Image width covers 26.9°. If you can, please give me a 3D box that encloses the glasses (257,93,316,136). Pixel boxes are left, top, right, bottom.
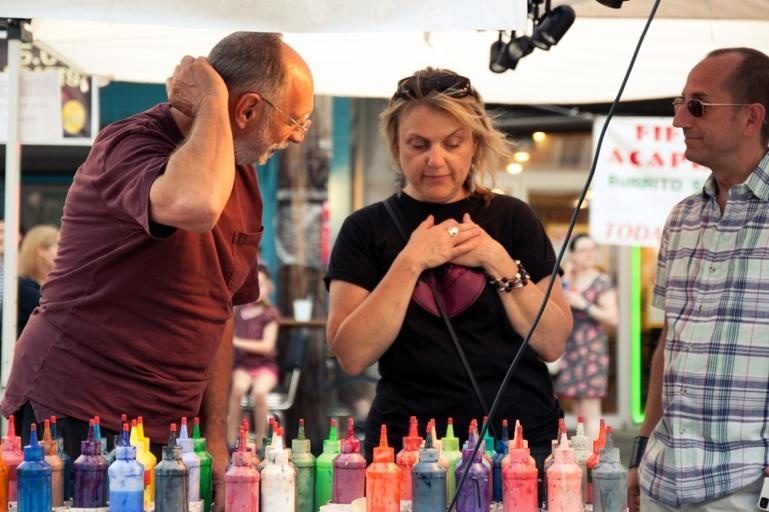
[{"bbox_3d":[-0.465,-0.674,7.546,0.199,0.055,0.147,38,-4,-16],"label":"glasses"}]

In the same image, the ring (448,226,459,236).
[{"bbox_3d":[0.324,-0.121,7.567,0.049,0.044,0.013,0,-4,1],"label":"ring"}]

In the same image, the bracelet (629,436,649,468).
[{"bbox_3d":[1.208,0.945,7.673,0.056,0.155,0.039,10,4,10],"label":"bracelet"}]

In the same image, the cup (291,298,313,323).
[{"bbox_3d":[-0.672,0.442,13.375,0.185,0.132,0.167,-2,-4,9],"label":"cup"}]
